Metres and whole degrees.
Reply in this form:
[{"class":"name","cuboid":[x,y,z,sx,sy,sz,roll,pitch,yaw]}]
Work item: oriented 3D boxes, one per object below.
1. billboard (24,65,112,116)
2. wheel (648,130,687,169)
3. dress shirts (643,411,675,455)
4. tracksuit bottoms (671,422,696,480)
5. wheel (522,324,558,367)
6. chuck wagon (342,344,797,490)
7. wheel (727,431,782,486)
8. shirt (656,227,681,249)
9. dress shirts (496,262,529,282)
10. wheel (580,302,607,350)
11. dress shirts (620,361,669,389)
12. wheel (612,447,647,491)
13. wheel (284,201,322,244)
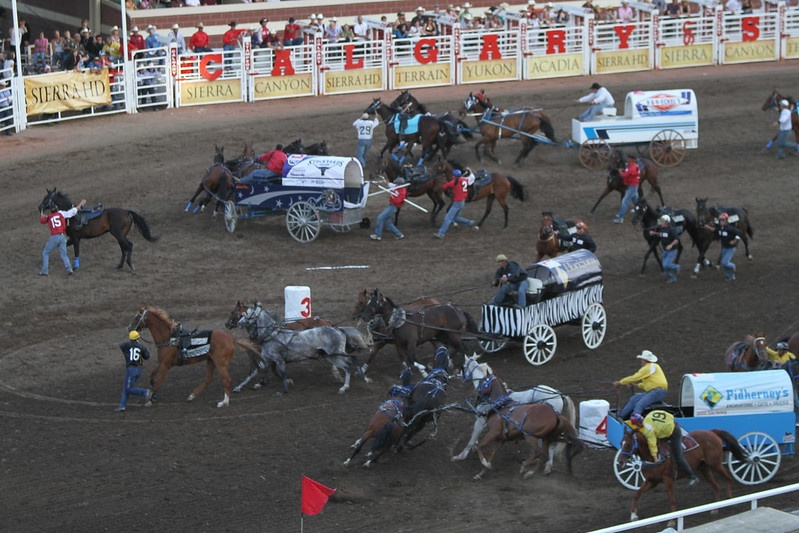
[{"class":"billboard","cuboid":[-11.006,-5.732,54.214,0.367,1.278,3.504,16,21,38]},{"class":"wheel","cuboid":[8.591,-3.715,52.028,1.505,1.218,0.451,-7,9,-31]},{"class":"dress shirts","cuboid":[5.848,3.800,36.851,0.704,0.960,0.461,-13,15,-35]},{"class":"tracksuit bottoms","cuboid":[6.374,4.200,36.886,0.394,1.212,0.357,-9,13,-16]},{"class":"wheel","cuboid":[3.614,1.997,41.232,0.376,1.028,1.208,-2,12,-36]},{"class":"chuck wagon","cuboid":[5.733,3.730,38.692,8.524,2.166,2.806,1,-2,-1]},{"class":"wheel","cuboid":[8.182,4.410,37.521,1.293,1.053,0.233,-16,7,-2]},{"class":"shirt","cuboid":[7.423,-0.775,44.727,0.356,0.545,0.614,-34,18,-34]},{"class":"dress shirts","cuboid":[2.829,0.207,41.102,0.669,0.381,0.541,-13,-2,-25]},{"class":"wheel","cuboid":[4.992,1.566,41.879,1.329,1.104,0.349,-9,7,-42]},{"class":"dress shirts","cuboid":[5.792,2.591,38.478,0.980,0.558,0.687,-1,-11,25]},{"class":"wheel","cuboid":[5.320,4.663,37.353,1.016,0.877,0.241,24,18,39]},{"class":"wheel","cuboid":[-2.742,-1.198,46.935,1.327,1.101,0.333,-2,3,42]}]
